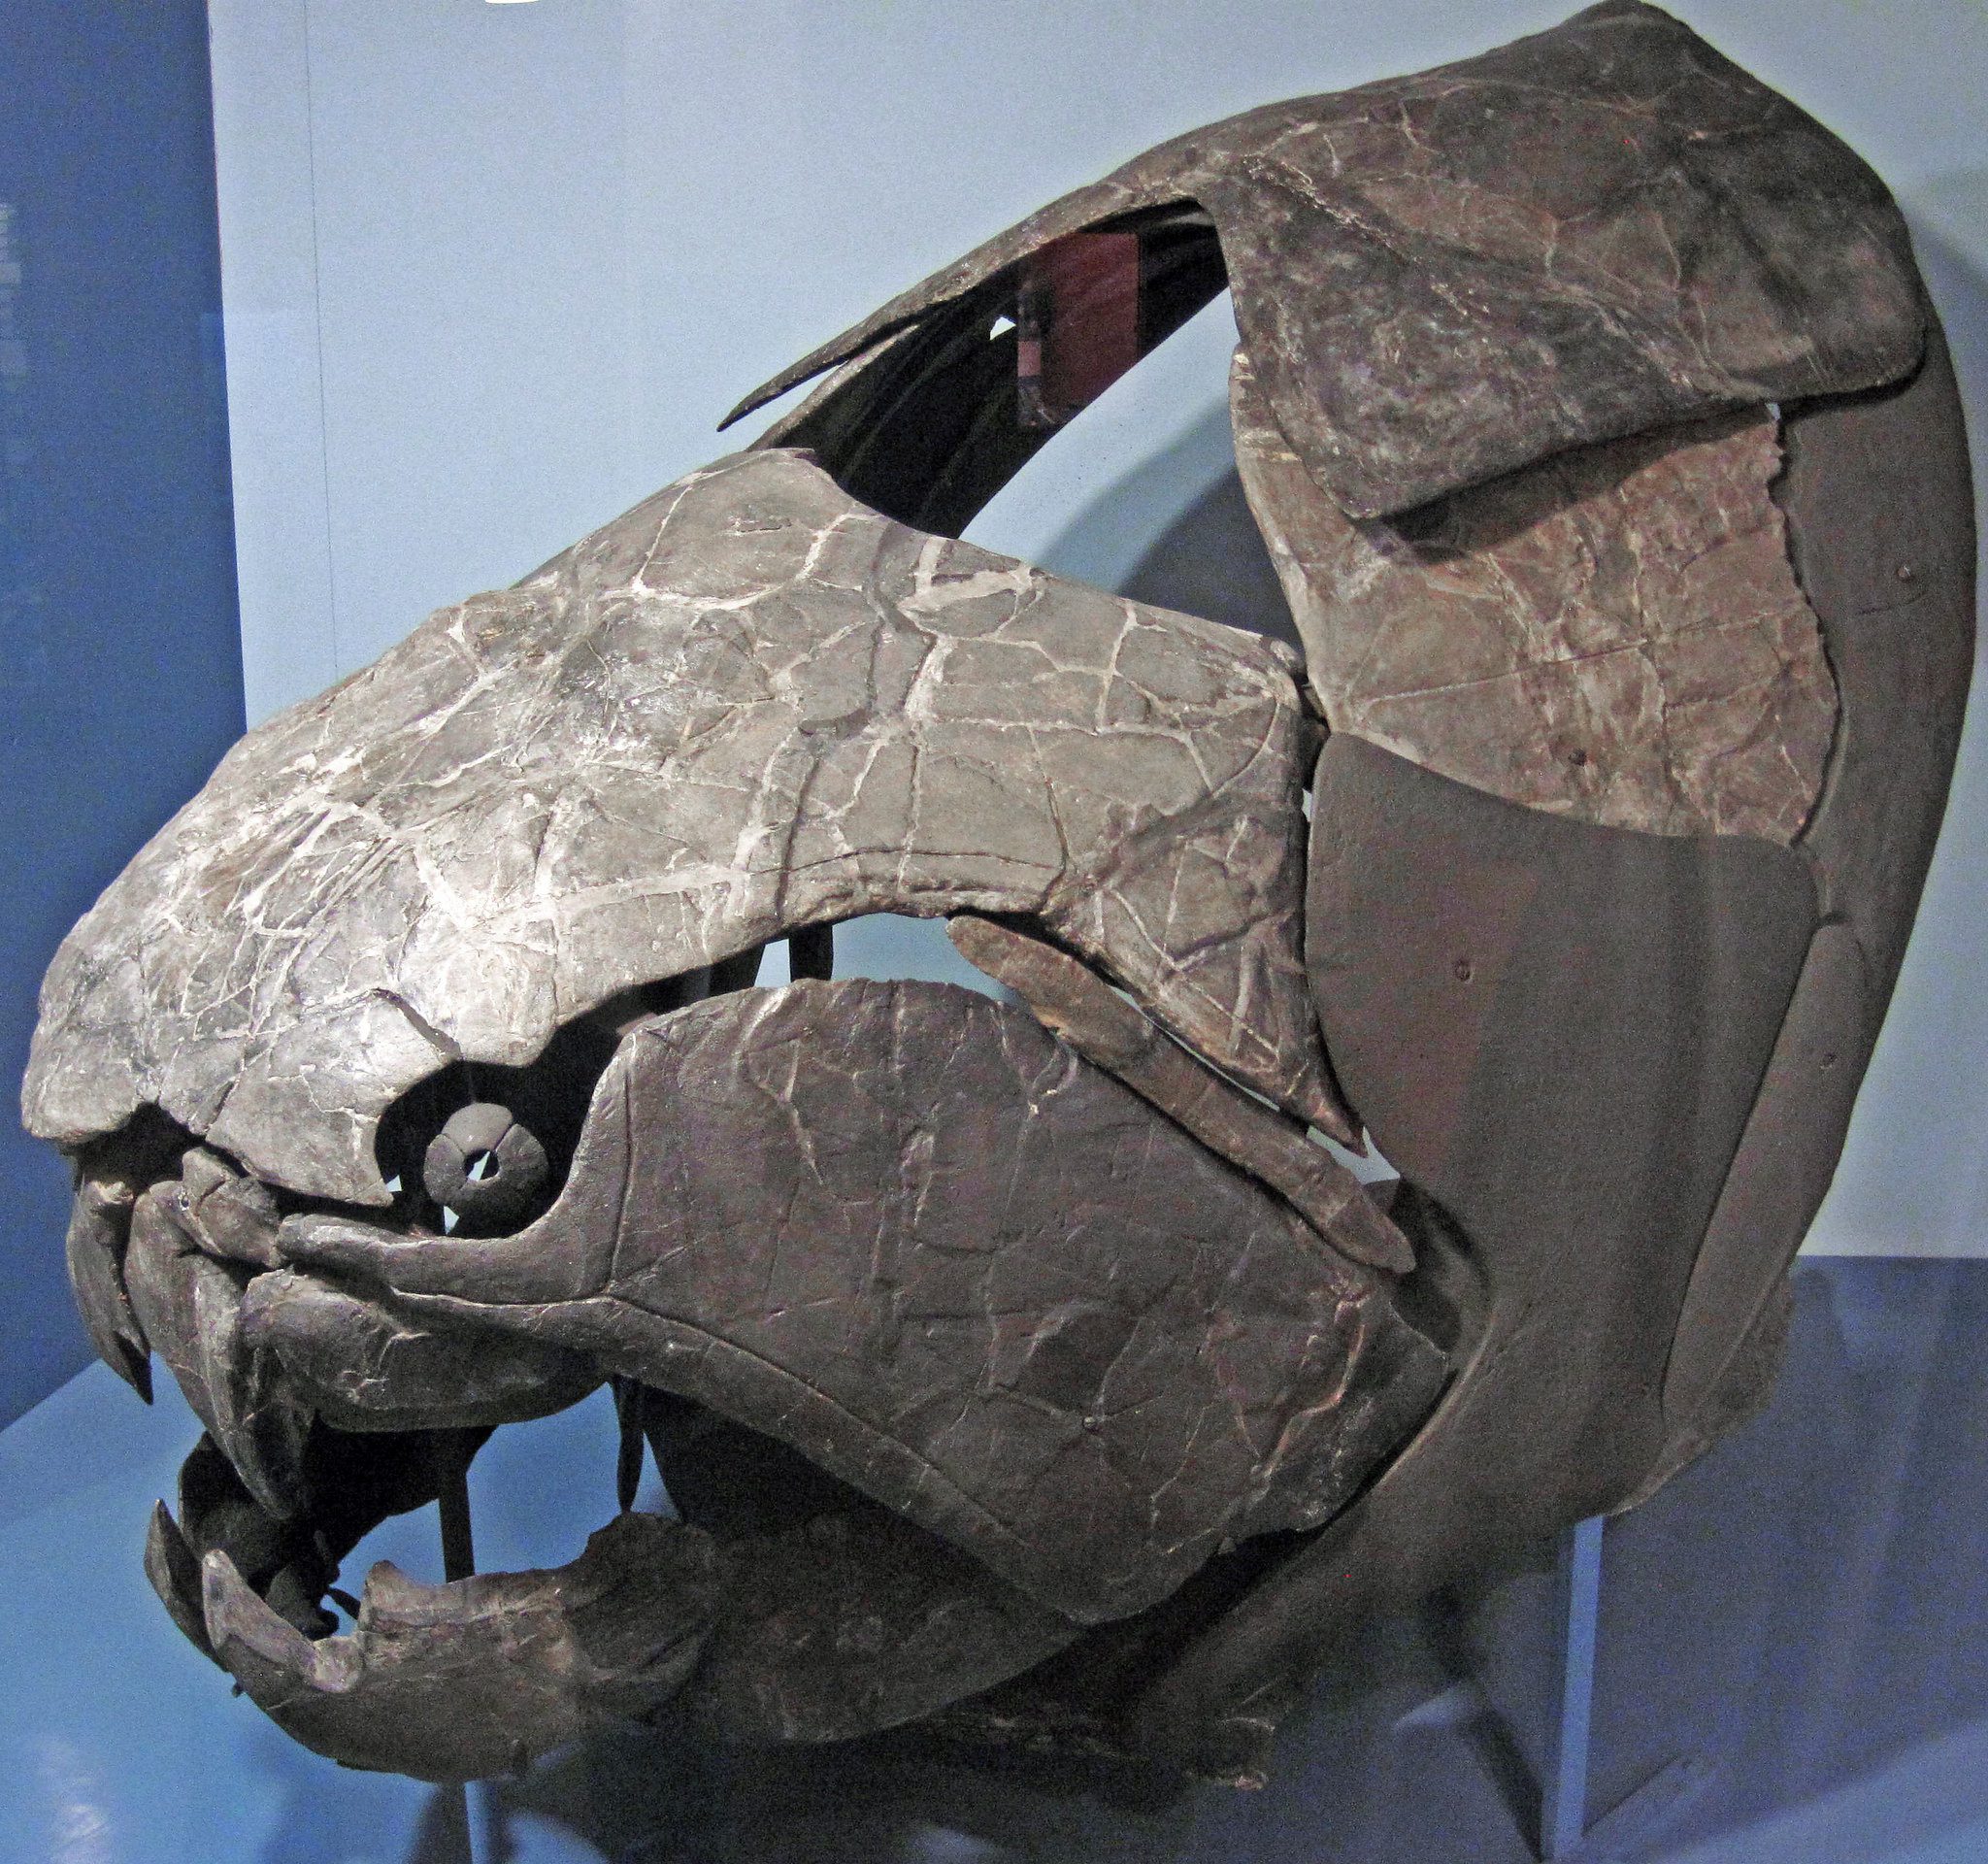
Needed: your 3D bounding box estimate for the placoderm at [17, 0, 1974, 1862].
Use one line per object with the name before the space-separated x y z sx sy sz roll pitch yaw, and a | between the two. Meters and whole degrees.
placoderm | 0.084 0.036 3.675 1.738 1.363 0.851 -16 32 -20
